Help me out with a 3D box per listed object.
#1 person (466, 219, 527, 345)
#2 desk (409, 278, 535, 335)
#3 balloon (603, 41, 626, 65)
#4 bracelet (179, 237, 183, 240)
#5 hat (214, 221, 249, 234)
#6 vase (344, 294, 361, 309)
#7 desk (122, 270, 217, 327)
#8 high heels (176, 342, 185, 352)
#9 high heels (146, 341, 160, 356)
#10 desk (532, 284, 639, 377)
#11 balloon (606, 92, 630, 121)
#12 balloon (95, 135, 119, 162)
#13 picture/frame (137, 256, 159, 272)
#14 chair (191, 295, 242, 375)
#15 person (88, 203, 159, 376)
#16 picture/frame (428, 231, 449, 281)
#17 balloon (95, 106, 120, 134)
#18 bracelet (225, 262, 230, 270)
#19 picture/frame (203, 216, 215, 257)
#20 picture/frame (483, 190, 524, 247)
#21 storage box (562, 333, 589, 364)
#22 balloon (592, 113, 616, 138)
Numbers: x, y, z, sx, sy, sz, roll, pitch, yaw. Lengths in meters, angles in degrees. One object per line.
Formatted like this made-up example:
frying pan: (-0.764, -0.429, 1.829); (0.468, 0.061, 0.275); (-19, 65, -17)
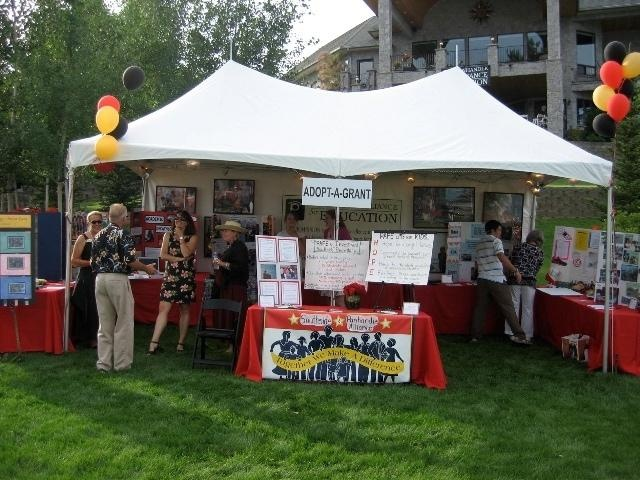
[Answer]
person: (2.888, 0.697, 10.537); (0.782, 1.963, 0.363); (5, 11, 18)
desk: (2.255, 1.168, 10.805); (1.150, 0.713, 0.833); (1, 0, -2)
balloon: (4.211, -2.684, 9.288); (0.299, 0.306, 0.338); (7, 13, 24)
bracelet: (-1.995, -0.029, 9.333); (0.030, 0.037, 0.008); (4, -23, 0)
hat: (-1.272, -0.181, 9.550); (0.283, 0.112, 0.266); (16, -12, -38)
vase: (0.409, 0.828, 8.693); (0.163, 0.275, 0.185); (6, -9, 5)
desk: (-3.100, 1.110, 11.801); (1.477, 0.784, 1.596); (-13, -10, 22)
high heels: (-2.081, 1.594, 9.636); (0.077, 0.096, 0.242); (0, -9, -3)
high heels: (-2.447, 1.582, 9.456); (0.082, 0.139, 0.275); (-4, -19, -4)
desk: (4.028, 1.370, 9.860); (0.671, 1.075, 2.085); (-1, 13, -8)
balloon: (4.217, -1.880, 9.196); (0.352, 0.403, 0.247); (-7, 14, -34)
balloon: (-2.917, -1.246, 8.963); (0.280, 0.416, 0.314); (7, -5, -4)
picture/frame: (-2.975, 0.368, 11.205); (0.486, 0.336, 0.366); (0, 3, -10)
chair: (-1.443, 1.329, 9.083); (0.717, 0.968, 0.769); (1, -12, 26)
person: (-2.719, 0.632, 8.766); (0.685, 2.178, 0.556); (-3, 12, -22)
picture/frame: (2.111, 0.276, 11.755); (0.162, 0.755, 0.728); (4, 2, -8)
balloon: (-3.003, -1.650, 9.093); (0.299, 0.462, 0.330); (5, -5, -27)
bracelet: (-1.349, 0.373, 9.395); (0.067, 0.056, 0.068); (2, -13, -10)
picture/frame: (-2.002, -0.065, 11.832); (0.015, 0.727, 0.304); (3, 3, 43)
picture/frame: (3.346, -0.372, 11.898); (0.705, 1.150, 0.024); (2, -31, 14)
storage box: (3.773, 1.597, 9.646); (0.300, 0.358, 0.336); (2, 10, 16)
balloon: (4.062, -1.638, 9.318); (0.265, 0.430, 0.273); (-10, 6, -34)
